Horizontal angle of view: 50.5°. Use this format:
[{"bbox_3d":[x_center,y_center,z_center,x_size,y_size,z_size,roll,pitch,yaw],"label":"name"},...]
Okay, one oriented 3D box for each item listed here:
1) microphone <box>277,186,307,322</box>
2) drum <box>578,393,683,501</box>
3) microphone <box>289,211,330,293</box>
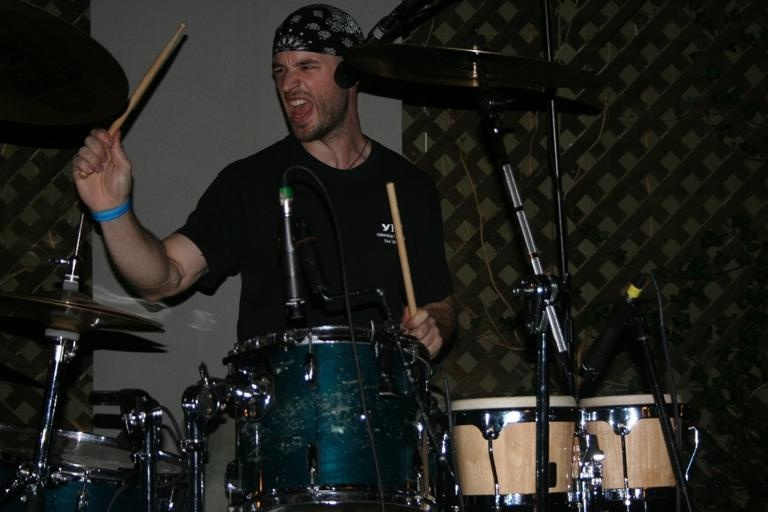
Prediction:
[{"bbox_3d":[-0.338,0.016,3.025,0.076,0.532,0.133,-4,-7,7],"label":"microphone"},{"bbox_3d":[1.094,0.843,3.621,0.372,0.414,0.398,-13,-15,22],"label":"drum"},{"bbox_3d":[-0.294,-0.001,3.158,0.072,0.290,0.270,-15,7,0],"label":"microphone"}]
